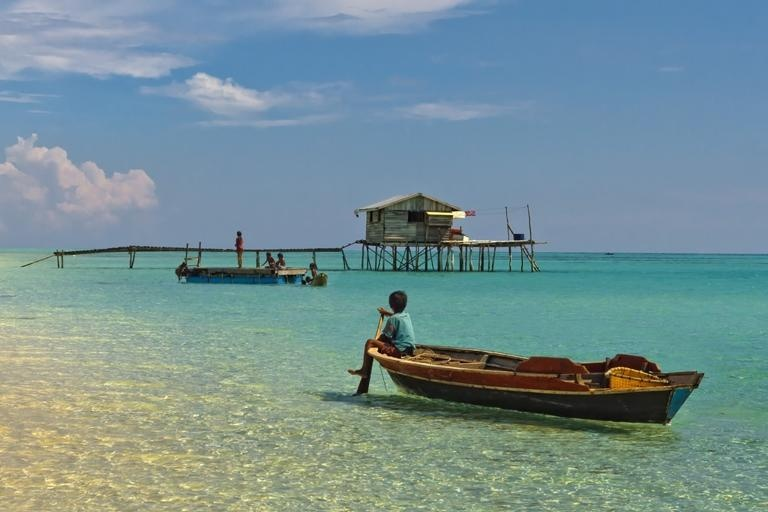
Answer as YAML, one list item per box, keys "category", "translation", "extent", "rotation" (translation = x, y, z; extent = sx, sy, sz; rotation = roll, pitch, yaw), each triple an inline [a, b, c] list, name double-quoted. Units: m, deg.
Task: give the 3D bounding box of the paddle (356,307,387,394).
- category: "paddle"
  translation: [-0.278, 2.497, 21.364]
  extent: [0.766, 2.208, 0.547]
  rotation: [8, 0, -6]

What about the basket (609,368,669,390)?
- category: "basket"
  translation: [5.561, 2.756, 19.133]
  extent: [1.326, 0.251, 0.485]
  rotation: [-1, 4, 41]
